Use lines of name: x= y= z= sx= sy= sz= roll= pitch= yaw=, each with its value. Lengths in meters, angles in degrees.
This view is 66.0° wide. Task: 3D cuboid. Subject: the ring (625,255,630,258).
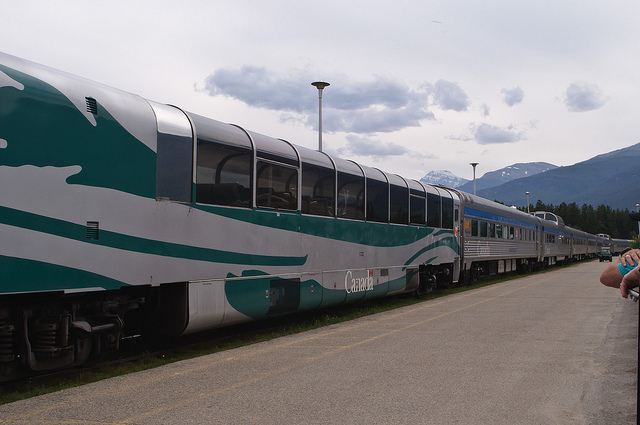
ring: x=3.331 y=0.474 z=5.323 sx=0.031 sy=0.033 sz=0.015 roll=-2 pitch=-1 yaw=-29
